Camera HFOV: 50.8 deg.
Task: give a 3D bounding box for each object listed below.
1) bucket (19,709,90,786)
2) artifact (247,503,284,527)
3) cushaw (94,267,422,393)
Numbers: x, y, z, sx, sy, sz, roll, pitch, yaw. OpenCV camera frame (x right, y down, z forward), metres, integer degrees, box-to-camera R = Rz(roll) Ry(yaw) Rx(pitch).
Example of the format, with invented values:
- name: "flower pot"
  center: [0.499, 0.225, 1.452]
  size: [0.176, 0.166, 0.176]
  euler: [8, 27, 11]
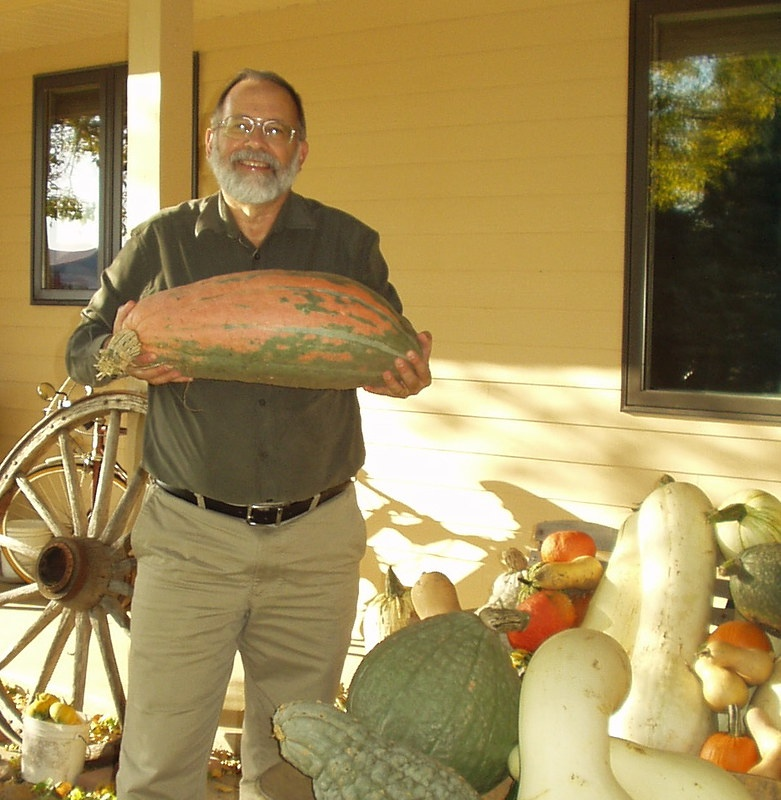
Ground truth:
- name: "bucket"
  center: [-1.483, 1.605, 3.856]
  size: [0.400, 0.308, 0.336]
  euler: [3, -9, -4]
- name: "artifact"
  center: [-0.358, 0.339, 2.369]
  size: [0.092, 0.068, 0.023]
  euler: [-1, 23, -10]
- name: "cushaw"
  center: [-0.309, -0.165, 1.981]
  size: [0.863, 0.238, 0.270]
  euler: [0, 18, -2]
